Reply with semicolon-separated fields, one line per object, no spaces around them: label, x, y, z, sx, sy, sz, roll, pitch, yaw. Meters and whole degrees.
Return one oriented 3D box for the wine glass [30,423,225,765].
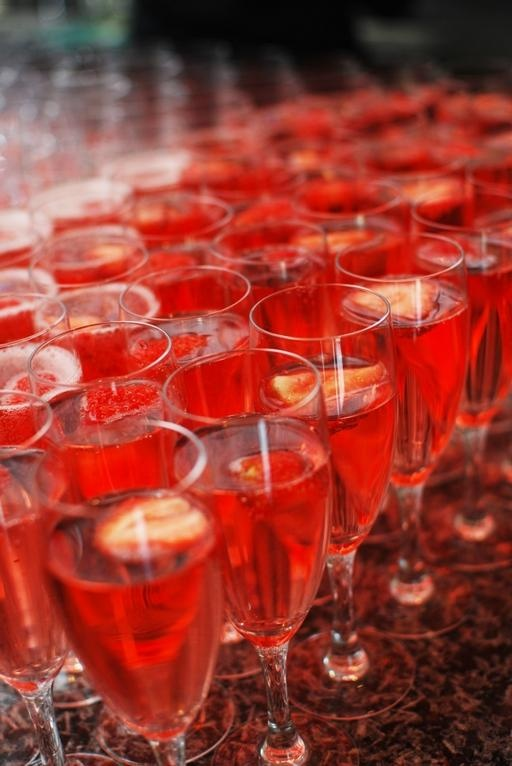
wine glass;-0.045;0.092;0.351;0.074;0.161;0.105;-2;29;11
